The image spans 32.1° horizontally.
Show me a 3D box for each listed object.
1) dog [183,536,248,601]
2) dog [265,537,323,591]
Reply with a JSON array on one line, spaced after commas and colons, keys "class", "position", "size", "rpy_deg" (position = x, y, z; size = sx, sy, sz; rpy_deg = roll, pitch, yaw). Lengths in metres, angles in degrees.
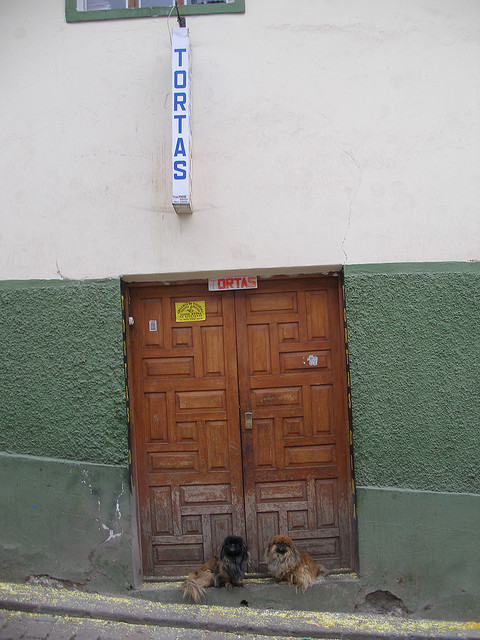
[{"class": "dog", "position": [-0.190, 1.878, 6.456], "size": [0.511, 0.455, 0.477], "rpy_deg": [-8, -5, 15]}, {"class": "dog", "position": [0.432, 1.832, 6.466], "size": [0.472, 0.388, 0.325], "rpy_deg": [3, 6, 0]}]
